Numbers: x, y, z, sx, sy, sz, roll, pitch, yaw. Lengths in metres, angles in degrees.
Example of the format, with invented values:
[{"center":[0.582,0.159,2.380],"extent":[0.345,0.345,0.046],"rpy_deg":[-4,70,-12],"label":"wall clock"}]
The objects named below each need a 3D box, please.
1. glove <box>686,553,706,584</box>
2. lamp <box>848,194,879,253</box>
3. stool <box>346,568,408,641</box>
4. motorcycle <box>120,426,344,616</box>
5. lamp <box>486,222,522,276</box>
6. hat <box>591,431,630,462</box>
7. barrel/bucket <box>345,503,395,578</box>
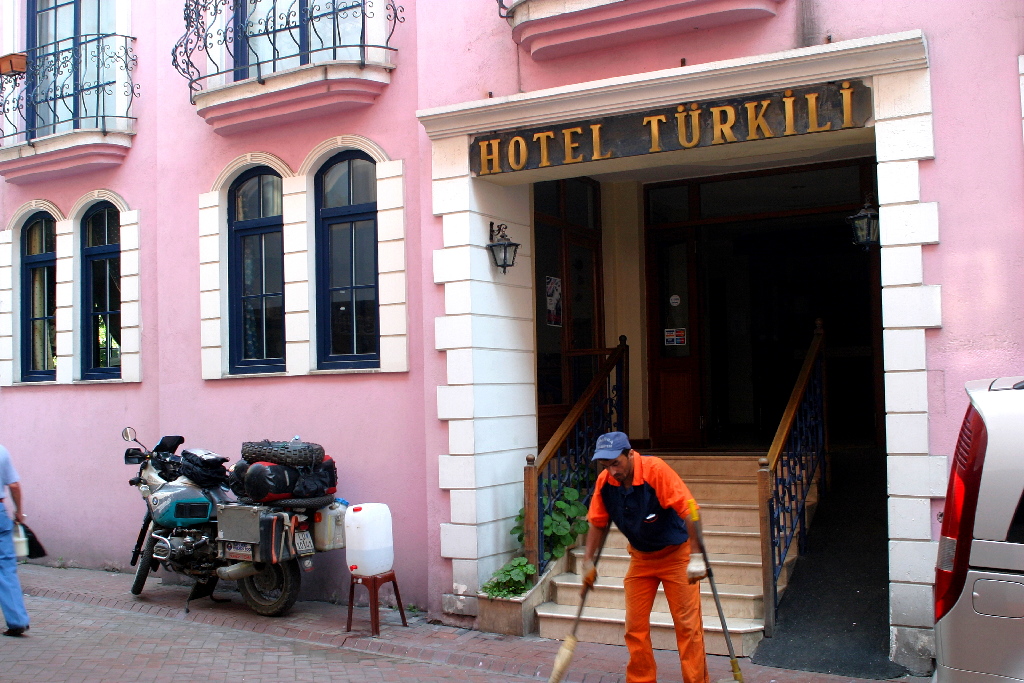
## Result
[{"center":[1.585,1.968,7.933],"extent":[0.170,0.283,0.244],"rpy_deg":[-2,6,11],"label":"glove"},{"center":[4.110,-1.373,10.840],"extent":[0.294,0.507,0.799],"rpy_deg":[-1,6,20],"label":"lamp"},{"center":[-1.639,2.921,10.333],"extent":[0.524,0.587,0.564],"rpy_deg":[2,-4,13],"label":"stool"},{"center":[-3.679,2.160,11.392],"extent":[3.422,2.075,1.554],"rpy_deg":[-1,-4,31],"label":"motorcycle"},{"center":[-0.061,-1.114,11.001],"extent":[0.286,0.614,0.472],"rpy_deg":[0,6,29],"label":"lamp"},{"center":[0.898,0.916,8.037],"extent":[0.228,0.191,0.363],"rpy_deg":[-6,-5,30],"label":"hat"},{"center":[-1.571,2.202,10.279],"extent":[0.506,0.759,0.372],"rpy_deg":[-4,6,-14],"label":"barrel/bucket"}]
